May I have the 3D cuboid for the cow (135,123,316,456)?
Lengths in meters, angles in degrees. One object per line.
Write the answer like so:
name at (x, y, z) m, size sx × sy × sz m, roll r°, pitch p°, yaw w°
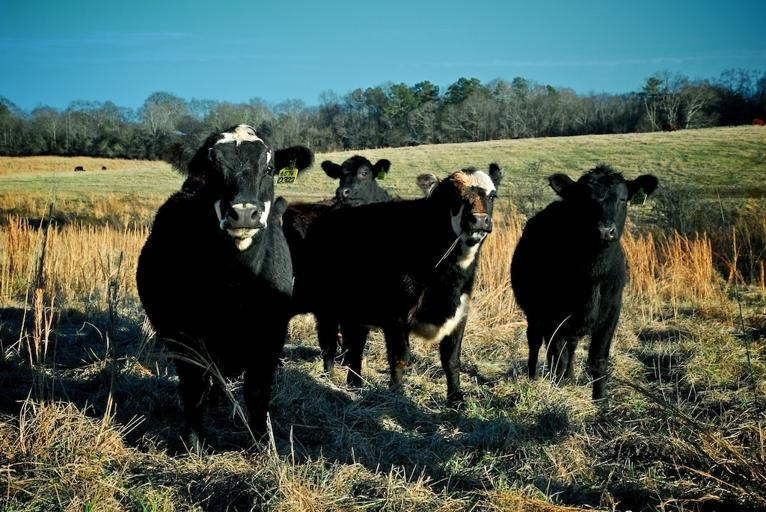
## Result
cow at (-2.286, 0.396, 10.091) m, size 1.890 × 4.323 × 0.928 m, roll 2°, pitch 8°, yaw 13°

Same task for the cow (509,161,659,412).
cow at (2.933, 0.329, 11.667) m, size 1.610 × 3.489 × 1.356 m, roll 5°, pitch 9°, yaw 29°
